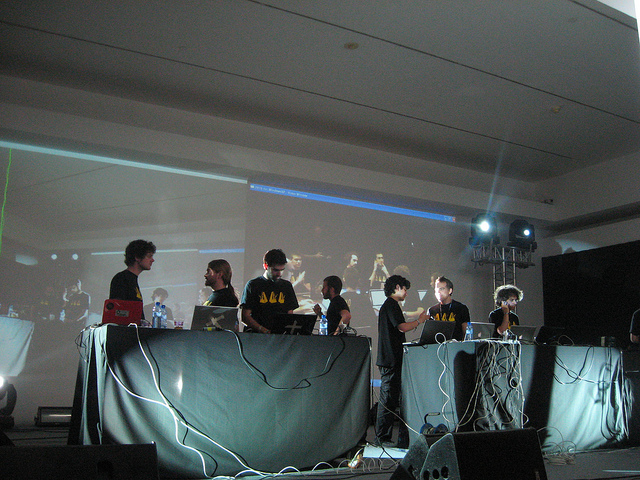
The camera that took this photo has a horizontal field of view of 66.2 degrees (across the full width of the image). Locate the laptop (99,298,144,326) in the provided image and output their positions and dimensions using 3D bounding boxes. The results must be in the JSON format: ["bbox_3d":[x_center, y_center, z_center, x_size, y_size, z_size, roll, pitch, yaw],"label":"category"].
[{"bbox_3d":[-1.516,0.554,3.797,0.301,0.203,0.219,6,-11,-15],"label":"laptop"}]

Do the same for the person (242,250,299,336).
[{"bbox_3d":[-0.500,0.606,5.169,0.631,0.953,0.571,4,-1,-18],"label":"person"}]

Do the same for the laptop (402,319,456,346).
[{"bbox_3d":[1.057,0.876,4.764,0.323,0.197,0.304,5,-10,-21],"label":"laptop"}]

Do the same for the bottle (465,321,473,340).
[{"bbox_3d":[1.476,0.895,4.835,0.061,0.163,0.359,-2,-10,17],"label":"bottle"}]

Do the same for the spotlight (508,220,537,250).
[{"bbox_3d":[3.492,-0.085,8.461,0.478,0.543,0.306,0,-12,-1],"label":"spotlight"}]

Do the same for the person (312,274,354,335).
[{"bbox_3d":[0.142,0.802,6.076,0.373,0.847,0.472,2,-34,1],"label":"person"}]

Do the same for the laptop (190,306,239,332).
[{"bbox_3d":[-0.867,0.647,4.023,0.331,0.233,0.220,6,-4,-17],"label":"laptop"}]

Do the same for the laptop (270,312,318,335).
[{"bbox_3d":[-0.219,0.710,4.152,0.369,0.173,0.187,6,-11,-29],"label":"laptop"}]

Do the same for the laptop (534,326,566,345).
[{"bbox_3d":[2.392,0.994,5.080,0.212,0.175,0.806,-6,-12,34],"label":"laptop"}]

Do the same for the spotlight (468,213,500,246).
[{"bbox_3d":[2.808,-0.185,8.382,0.509,0.581,0.300,1,-12,-2],"label":"spotlight"}]

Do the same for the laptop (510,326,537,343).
[{"bbox_3d":[2.062,0.937,4.887,0.159,0.153,0.402,-8,-13,43],"label":"laptop"}]

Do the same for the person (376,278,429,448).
[{"bbox_3d":[0.795,1.259,5.148,0.406,1.719,0.349,0,-9,7],"label":"person"}]

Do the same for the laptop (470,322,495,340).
[{"bbox_3d":[1.595,0.878,4.824,0.243,0.177,0.161,4,-6,-25],"label":"laptop"}]
